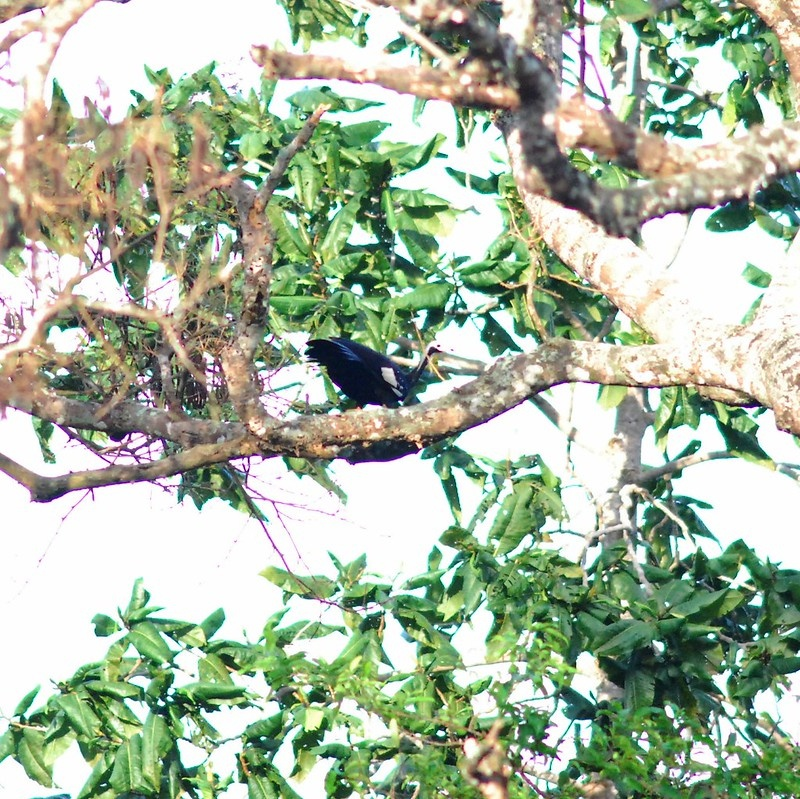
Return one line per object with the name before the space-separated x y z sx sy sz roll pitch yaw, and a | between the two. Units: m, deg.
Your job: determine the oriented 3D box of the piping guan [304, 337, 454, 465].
piping guan | -0.164 -0.138 13.035 0.895 0.572 0.482 31 -32 -33
